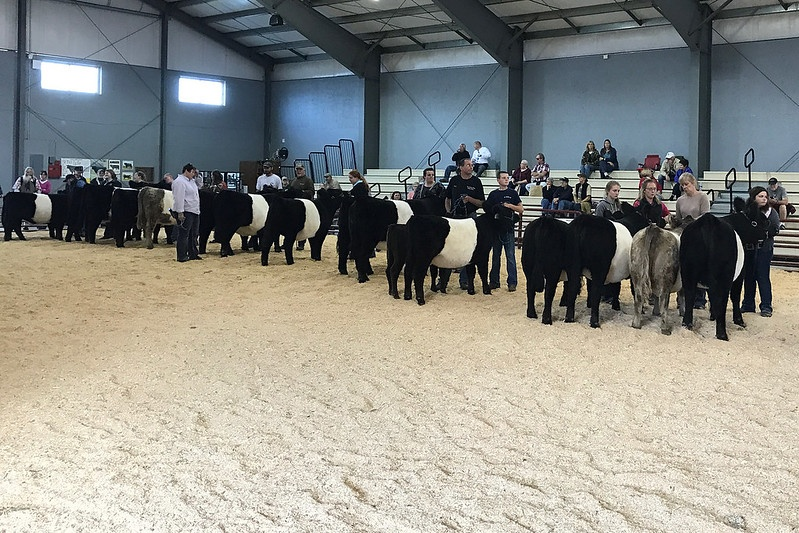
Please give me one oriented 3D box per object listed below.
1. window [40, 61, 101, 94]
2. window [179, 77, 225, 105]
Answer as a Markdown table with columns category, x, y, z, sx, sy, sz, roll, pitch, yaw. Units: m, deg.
| category | x | y | z | sx | sy | sz | roll | pitch | yaw |
| --- | --- | --- | --- | --- | --- | --- | --- | --- | --- |
| window | -12.542 | -7.158 | 25.465 | 1.458 | 0.803 | 0.096 | -2 | 0 | -40 |
| window | -8.509 | -7.493 | 28.680 | 1.383 | 0.832 | 0.182 | -1 | 2 | -39 |
